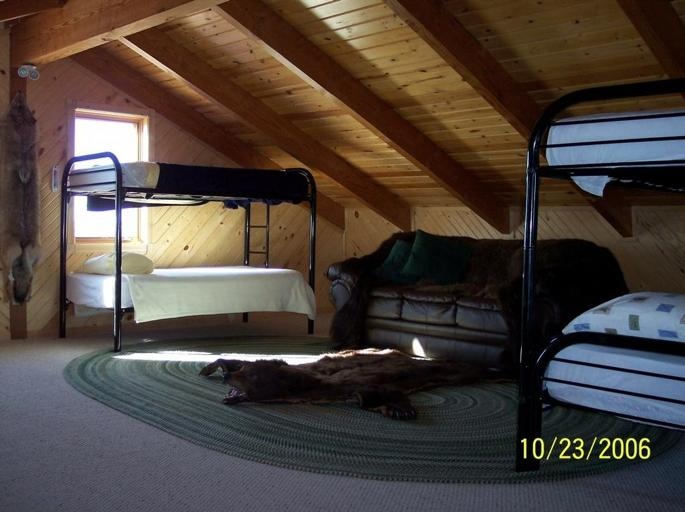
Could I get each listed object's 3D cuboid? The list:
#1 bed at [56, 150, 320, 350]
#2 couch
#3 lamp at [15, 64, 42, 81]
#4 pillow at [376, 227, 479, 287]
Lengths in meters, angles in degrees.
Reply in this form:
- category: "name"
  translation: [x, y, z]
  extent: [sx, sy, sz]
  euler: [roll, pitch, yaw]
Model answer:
- category: "bed"
  translation: [-1.588, -0.054, 5.440]
  extent: [1.379, 1.494, 2.290]
  euler: [5, 3, 40]
- category: "couch"
  translation: [1.122, 0.527, 4.400]
  extent: [1.180, 0.995, 2.337]
  euler: [12, -8, -42]
- category: "lamp"
  translation: [-2.850, -1.683, 4.880]
  extent: [0.212, 0.133, 0.069]
  euler: [-23, 3, -8]
- category: "pillow"
  translation: [0.768, 0.056, 4.765]
  extent: [0.635, 0.172, 0.611]
  euler: [-22, 31, -8]
